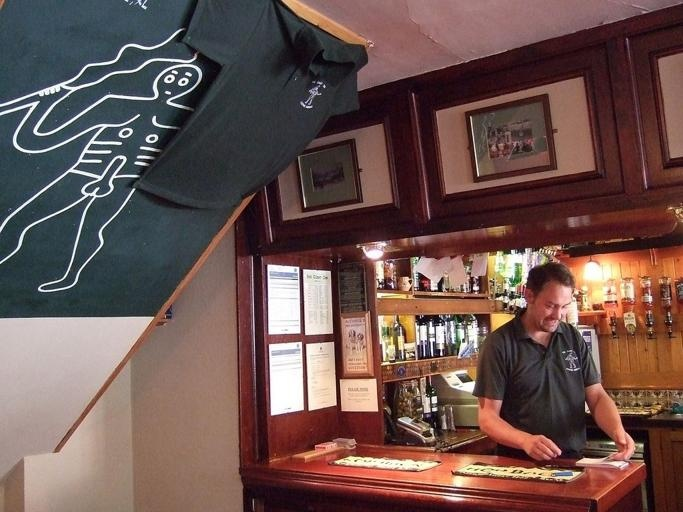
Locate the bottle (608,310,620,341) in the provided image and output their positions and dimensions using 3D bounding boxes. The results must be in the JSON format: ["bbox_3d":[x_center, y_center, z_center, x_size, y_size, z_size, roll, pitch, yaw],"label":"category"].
[{"bbox_3d":[2.920,0.735,6.169,0.086,0.342,0.118,0,-3,-35],"label":"bottle"}]

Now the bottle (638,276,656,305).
[{"bbox_3d":[3.195,0.351,5.992,0.116,0.295,0.177,-4,-3,31],"label":"bottle"}]

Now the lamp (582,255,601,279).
[{"bbox_3d":[2.759,0.117,6.279,0.238,0.358,0.214,1,4,18],"label":"lamp"}]

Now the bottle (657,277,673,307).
[{"bbox_3d":[3.350,0.360,5.905,0.112,0.202,0.124,-4,-3,28],"label":"bottle"}]

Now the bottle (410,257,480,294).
[{"bbox_3d":[0.787,0.109,4.102,0.383,0.232,0.517,-2,-5,44],"label":"bottle"}]

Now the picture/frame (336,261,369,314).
[{"bbox_3d":[0.076,0.203,3.778,0.204,0.327,0.035,-4,-3,33],"label":"picture/frame"}]

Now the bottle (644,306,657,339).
[{"bbox_3d":[3.214,0.693,5.954,0.092,0.339,0.165,-4,-3,28],"label":"bottle"}]

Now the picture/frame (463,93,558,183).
[{"bbox_3d":[0.836,-0.594,2.769,0.409,0.393,0.036,-6,5,28],"label":"picture/frame"}]

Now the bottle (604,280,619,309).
[{"bbox_3d":[2.904,0.408,6.154,0.134,0.459,0.139,11,-21,4],"label":"bottle"}]

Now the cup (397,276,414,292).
[{"bbox_3d":[0.481,0.215,4.333,0.111,0.106,0.088,2,-6,-3],"label":"cup"}]

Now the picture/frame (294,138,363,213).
[{"bbox_3d":[-0.057,-0.469,3.166,0.385,0.350,0.033,-5,9,28],"label":"picture/frame"}]

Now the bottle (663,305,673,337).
[{"bbox_3d":[3.356,0.677,5.869,0.083,0.219,0.165,-4,-3,32],"label":"bottle"}]

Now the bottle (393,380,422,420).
[{"bbox_3d":[0.491,1.045,4.149,0.283,0.282,0.128,0,-3,-43],"label":"bottle"}]
